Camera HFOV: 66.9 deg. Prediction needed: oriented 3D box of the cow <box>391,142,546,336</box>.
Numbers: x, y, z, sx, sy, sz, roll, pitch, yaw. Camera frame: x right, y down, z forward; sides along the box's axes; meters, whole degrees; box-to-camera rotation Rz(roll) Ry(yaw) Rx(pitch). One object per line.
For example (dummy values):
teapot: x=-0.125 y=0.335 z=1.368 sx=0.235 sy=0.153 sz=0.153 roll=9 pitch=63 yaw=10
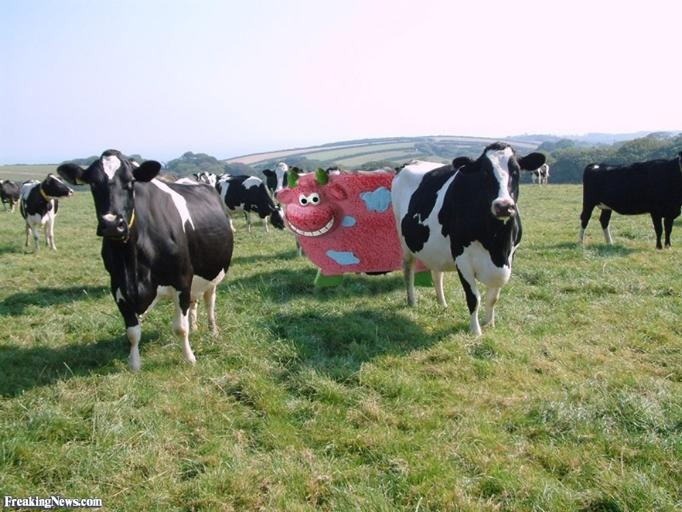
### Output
cow: x=1.855 y=-0.337 z=7.893 sx=0.886 sy=2.713 sz=2.473 roll=-5 pitch=9 yaw=-28

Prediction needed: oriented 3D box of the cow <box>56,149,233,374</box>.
cow: x=-2.544 y=0.127 z=7.409 sx=1.339 sy=2.820 sz=4.170 roll=0 pitch=3 yaw=2
